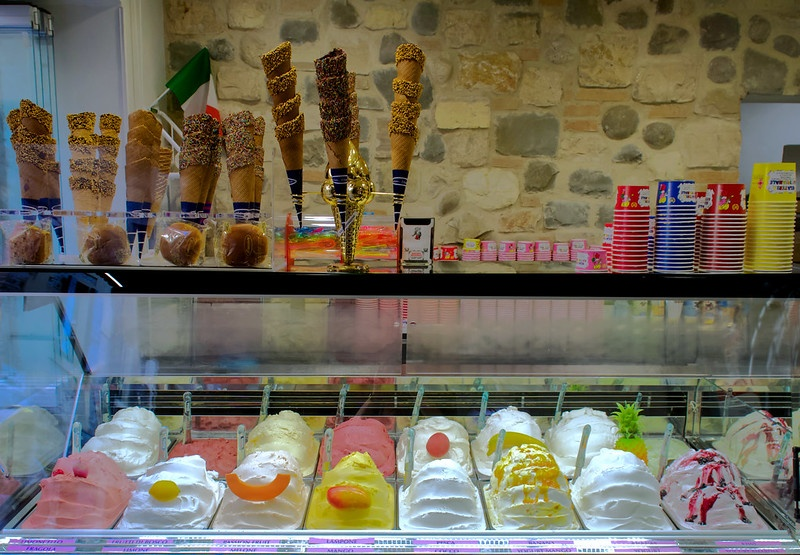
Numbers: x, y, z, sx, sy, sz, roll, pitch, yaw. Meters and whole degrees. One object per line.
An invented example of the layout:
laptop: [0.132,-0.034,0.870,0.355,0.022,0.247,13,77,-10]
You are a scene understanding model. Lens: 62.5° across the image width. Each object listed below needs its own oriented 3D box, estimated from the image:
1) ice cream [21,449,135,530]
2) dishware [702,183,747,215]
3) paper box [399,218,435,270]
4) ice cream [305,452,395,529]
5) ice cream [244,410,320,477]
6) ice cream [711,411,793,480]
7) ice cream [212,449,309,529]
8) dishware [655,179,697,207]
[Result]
ice cream: [-1.018,0.647,2.057,0.352,0.461,0.139,5,-90,-10]
dishware: [0.979,-0.227,1.985,0.101,0.102,0.106,1,-88,38]
paper box: [0.049,-0.100,1.996,0.108,0.230,0.094,0,-60,8]
ice cream: [-0.154,0.623,1.955,0.196,0.205,0.119,6,-86,37]
ice cream: [-0.388,0.537,2.162,0.260,0.334,0.102,9,-74,3]
ice cream: [1.115,0.518,2.061,0.177,0.222,0.093,-2,-74,3]
ice cream: [-0.409,0.629,2.041,0.300,0.385,0.121,3,-72,-1]
dishware: [0.830,-0.246,1.960,0.091,0.090,0.064,0,-90,4]
